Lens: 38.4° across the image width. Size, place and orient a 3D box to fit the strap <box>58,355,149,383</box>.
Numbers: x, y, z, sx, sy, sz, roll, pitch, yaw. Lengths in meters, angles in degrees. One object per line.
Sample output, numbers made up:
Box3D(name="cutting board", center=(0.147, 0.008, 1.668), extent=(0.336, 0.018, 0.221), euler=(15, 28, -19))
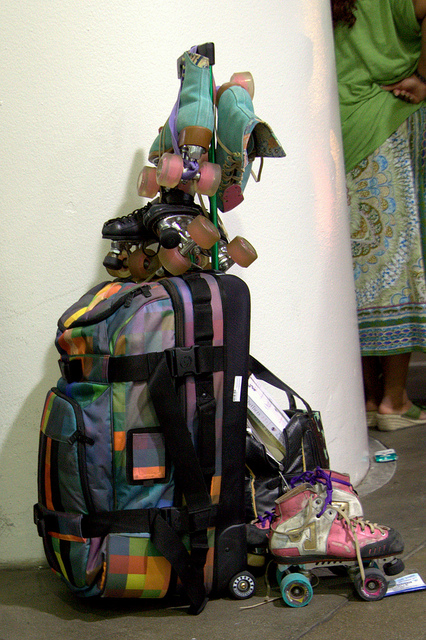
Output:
Box3D(name="strap", center=(-0.171, 0.080, 0.977), extent=(0.082, 0.022, 0.076), euler=(0, 0, 0))

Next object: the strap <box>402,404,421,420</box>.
Box3D(name="strap", center=(0.692, 0.318, 2.116), extent=(0.041, 0.030, 0.067), euler=(3, 12, 40))
